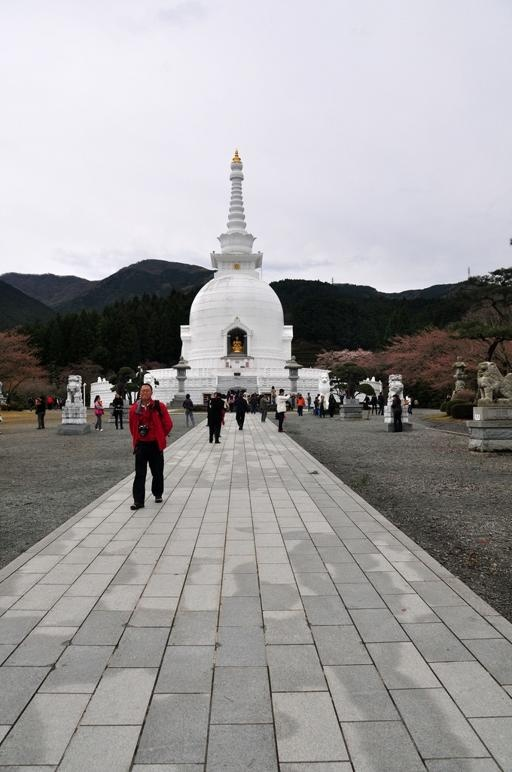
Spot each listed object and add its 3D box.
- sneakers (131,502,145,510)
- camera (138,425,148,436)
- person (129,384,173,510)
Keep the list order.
[{"bbox_3d":[-1.290,1.312,6.837,0.142,0.057,0.135,0,1,-19],"label":"sneakers"},{"bbox_3d":[-1.304,0.518,7.260,0.078,0.111,0.111,0,-2,-7],"label":"camera"},{"bbox_3d":[-1.234,0.669,7.356,0.478,1.359,1.137,1,1,-12],"label":"person"}]
